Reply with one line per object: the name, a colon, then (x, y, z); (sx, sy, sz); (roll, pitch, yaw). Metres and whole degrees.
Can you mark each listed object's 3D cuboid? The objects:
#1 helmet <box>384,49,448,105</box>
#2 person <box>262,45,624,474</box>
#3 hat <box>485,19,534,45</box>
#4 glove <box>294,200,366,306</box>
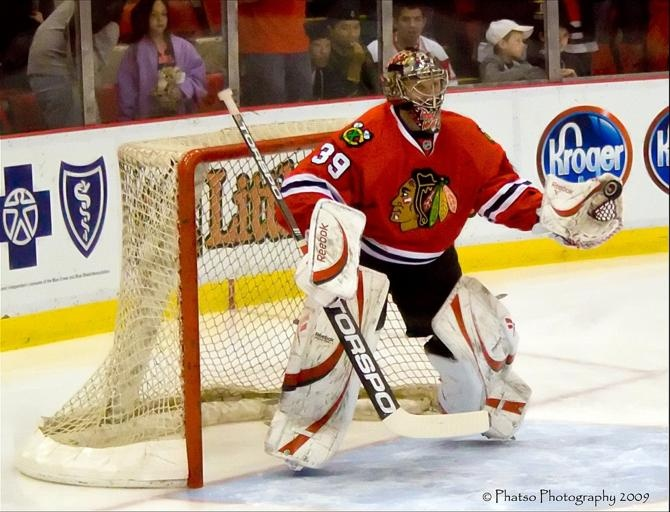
helmet: (0.294, -0.678, 3.323); (0.194, 0.193, 0.244); (-10, 11, -44)
person: (0.368, 0.058, 3.370); (1.393, 1.610, 0.899); (-3, 14, -16)
hat: (1.269, -1.653, 6.259); (0.286, 0.135, 0.182); (-15, 17, 13)
glove: (-0.015, -0.003, 2.949); (0.236, 0.365, 0.235); (0, 15, 1)
